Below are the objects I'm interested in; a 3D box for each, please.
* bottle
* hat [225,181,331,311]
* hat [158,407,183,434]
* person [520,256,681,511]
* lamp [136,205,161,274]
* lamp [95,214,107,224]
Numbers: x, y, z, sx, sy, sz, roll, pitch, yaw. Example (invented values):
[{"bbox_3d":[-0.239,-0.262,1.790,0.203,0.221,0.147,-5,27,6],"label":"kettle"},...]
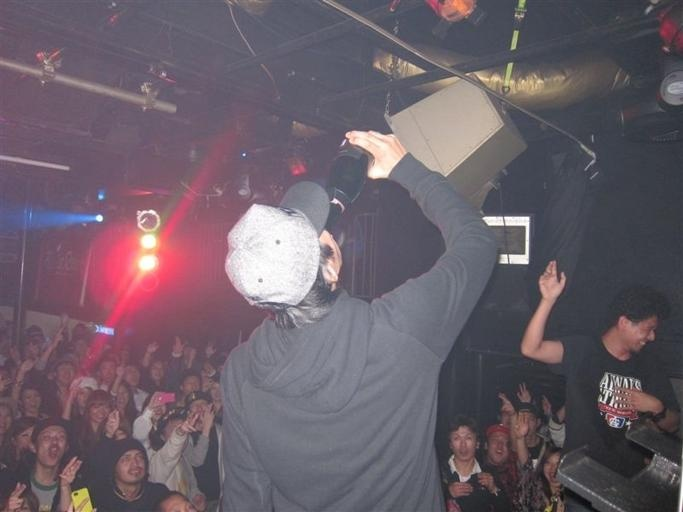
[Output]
[{"bbox_3d":[0.026,-0.440,3.244,0.190,0.565,0.199,10,16,-3],"label":"bottle"},{"bbox_3d":[-0.283,-0.036,3.060,0.436,0.649,0.324,22,11,29],"label":"hat"},{"bbox_3d":[-1.626,1.571,5.425,0.129,0.234,0.176,39,-12,-4],"label":"hat"},{"bbox_3d":[2.037,0.804,4.470,1.094,1.735,0.884,-6,-19,20],"label":"person"},{"bbox_3d":[-2.387,-0.201,7.033,0.278,0.582,0.578,5,-19,-15],"label":"lamp"},{"bbox_3d":[-3.171,-0.492,7.468,0.124,0.128,0.030,3,7,14],"label":"lamp"}]
